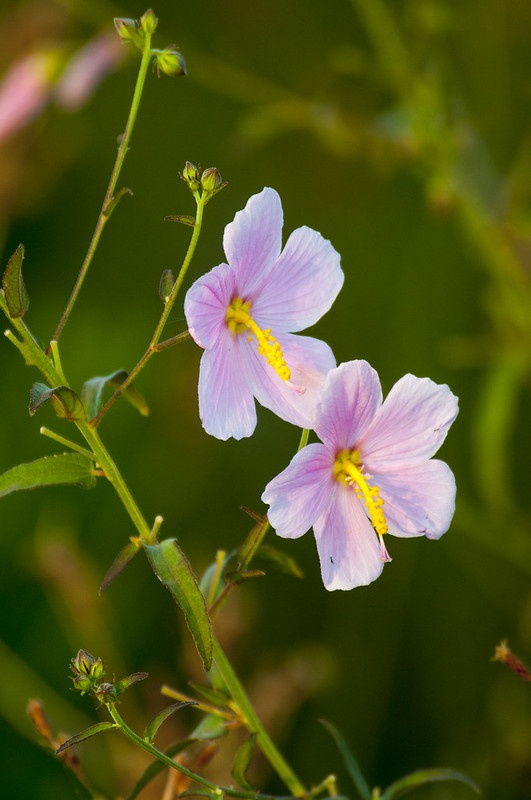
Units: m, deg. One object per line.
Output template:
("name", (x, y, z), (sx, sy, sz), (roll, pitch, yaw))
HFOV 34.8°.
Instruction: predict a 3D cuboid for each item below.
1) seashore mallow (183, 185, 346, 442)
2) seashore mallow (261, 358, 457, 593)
("seashore mallow", (-0.023, -0.141, 1.313), (0.161, 0.313, 0.385), (-6, 33, -22))
("seashore mallow", (0.110, 0.090, 1.311), (0.324, 0.327, 0.149), (-17, 11, -22))
